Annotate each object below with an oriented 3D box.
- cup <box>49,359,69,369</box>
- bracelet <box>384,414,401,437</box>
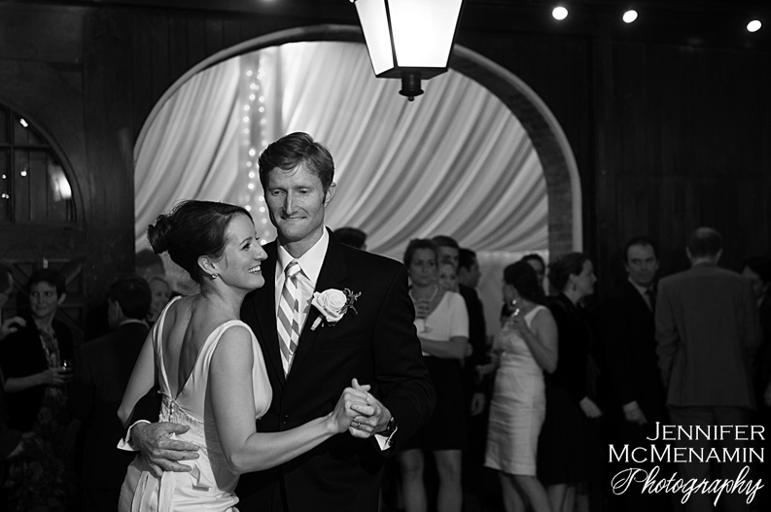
[{"bbox_3d":[-2.428,0.814,5.386,0.084,0.069,0.087,1,-18,0],"label":"cup"},{"bbox_3d":[0.031,0.773,3.218,0.060,0.076,0.080,5,-20,-31],"label":"bracelet"}]
